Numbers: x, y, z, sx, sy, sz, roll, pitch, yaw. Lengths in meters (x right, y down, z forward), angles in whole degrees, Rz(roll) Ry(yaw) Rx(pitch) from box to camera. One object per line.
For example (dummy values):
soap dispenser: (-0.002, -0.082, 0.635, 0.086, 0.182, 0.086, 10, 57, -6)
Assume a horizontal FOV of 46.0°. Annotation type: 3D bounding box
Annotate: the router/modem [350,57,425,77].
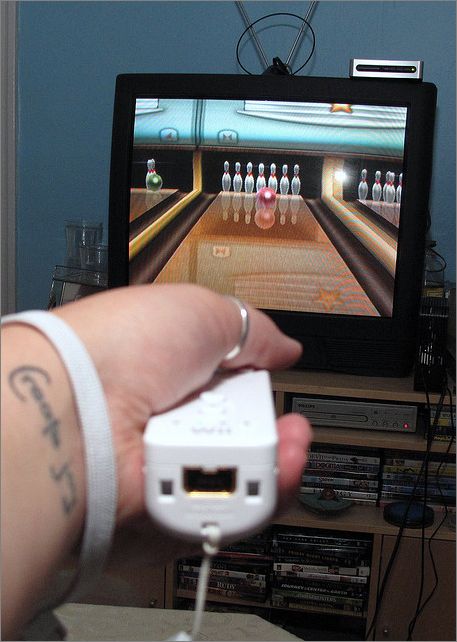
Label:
router/modem: (0.392, -0.624, 1.337, 0.182, 0.056, 0.079, 0, 16, -4)
